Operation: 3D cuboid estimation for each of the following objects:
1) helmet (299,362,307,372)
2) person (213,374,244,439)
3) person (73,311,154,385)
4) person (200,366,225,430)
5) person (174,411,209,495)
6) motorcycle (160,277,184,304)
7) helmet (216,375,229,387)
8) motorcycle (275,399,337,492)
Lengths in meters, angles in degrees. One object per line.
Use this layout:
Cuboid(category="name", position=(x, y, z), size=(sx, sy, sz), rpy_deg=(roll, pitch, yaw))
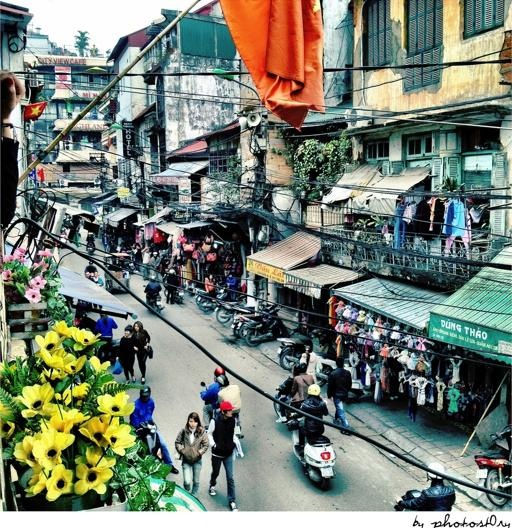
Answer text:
Cuboid(category="helmet", position=(0.885, 1.939, 12.307), size=(0.142, 0.138, 0.138), rpy_deg=(-2, -13, -2))
Cuboid(category="person", position=(-0.382, 2.248, 10.723), size=(0.513, 0.628, 1.028), rpy_deg=(1, 9, -5))
Cuboid(category="person", position=(-3.279, 1.871, 15.313), size=(0.962, 1.494, 2.448), rpy_deg=(-4, 9, -34))
Cuboid(category="person", position=(-0.693, 2.284, 11.177), size=(0.408, 0.939, 0.468), rpy_deg=(-7, 12, -25))
Cuboid(category="person", position=(-0.922, 2.669, 9.463), size=(0.547, 1.138, 0.544), rpy_deg=(-2, 9, -12))
Cuboid(category="motorcycle", position=(-2.823, 0.938, 22.534), size=(0.794, 0.925, 1.446), rpy_deg=(-6, 27, -5))
Cuboid(category="helmet", position=(-0.543, 1.980, 11.117), size=(0.157, 0.161, 0.198), rpy_deg=(-2, 37, -21))
Cuboid(category="motorcycle", position=(0.916, 2.859, 11.572), size=(1.014, 0.924, 3.608), rpy_deg=(1, 8, -1))
